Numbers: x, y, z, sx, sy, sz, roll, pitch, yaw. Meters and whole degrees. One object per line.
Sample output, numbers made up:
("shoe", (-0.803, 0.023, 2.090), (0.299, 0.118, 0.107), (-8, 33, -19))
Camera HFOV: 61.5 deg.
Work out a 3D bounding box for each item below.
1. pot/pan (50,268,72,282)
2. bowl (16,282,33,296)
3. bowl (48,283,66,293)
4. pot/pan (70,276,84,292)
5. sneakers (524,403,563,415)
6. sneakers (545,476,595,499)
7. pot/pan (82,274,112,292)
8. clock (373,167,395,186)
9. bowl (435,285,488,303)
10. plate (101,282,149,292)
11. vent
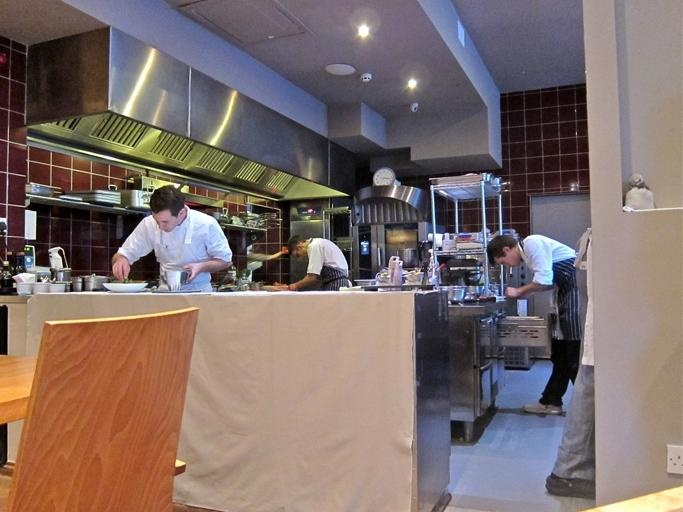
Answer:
("pot/pan", (-1.795, 0.125, 3.683), (0.088, 0.070, 0.092), (0, -5, -5))
("bowl", (-1.777, 0.178, 3.240), (0.092, 0.072, 0.092), (1, 1, 0))
("bowl", (-1.668, 0.183, 3.362), (0.082, 0.054, 0.084), (-1, -2, 0))
("pot/pan", (-1.741, 0.183, 3.775), (0.082, 0.096, 0.086), (2, 0, 22))
("sneakers", (1.500, 1.141, 4.287), (0.245, 0.110, 0.107), (2, -3, 25))
("sneakers", (1.147, 1.150, 2.880), (0.225, 0.073, 0.182), (-2, -1, 23))
("pot/pan", (-1.605, 0.176, 3.747), (0.088, 0.075, 0.123), (0, -4, 1))
("clock", (0.499, -0.939, 6.803), (0.107, 0.212, 0.361), (0, -2, -41))
("bowl", (0.862, 0.260, 3.975), (0.225, 0.073, 0.345), (-8, -11, 43))
("plate", (-1.119, 0.159, 2.975), (0.191, 0.051, 0.230), (-1, -1, -23))
("vent", (-1.148, -1.069, 4.828), (0.668, 0.691, 2.733), (-2, -1, 28))
